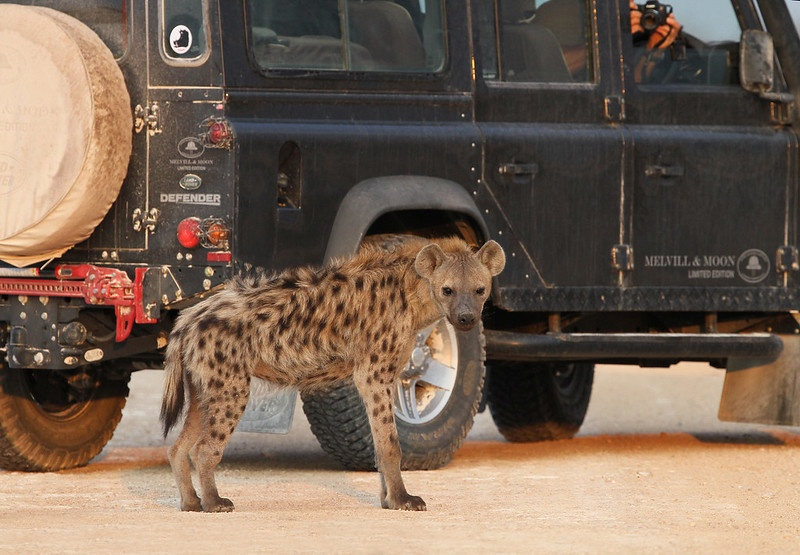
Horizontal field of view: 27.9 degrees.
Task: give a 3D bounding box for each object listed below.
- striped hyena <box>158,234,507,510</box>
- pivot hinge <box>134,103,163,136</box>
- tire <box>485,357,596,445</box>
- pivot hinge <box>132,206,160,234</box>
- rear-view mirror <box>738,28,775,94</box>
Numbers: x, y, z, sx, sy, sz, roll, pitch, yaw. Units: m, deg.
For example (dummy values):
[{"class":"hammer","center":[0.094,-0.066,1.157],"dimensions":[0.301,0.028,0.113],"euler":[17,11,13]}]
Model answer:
[{"class":"striped hyena","center":[-0.465,0.739,11.286],"dimensions":[2.423,1.869,0.671],"euler":[-1,-10,-11]},{"class":"pivot hinge","center":[-1.847,-1.108,11.659],"dimensions":[0.213,0.214,0.072],"euler":[0,2,12]},{"class":"tire","center":[1.235,1.054,14.675],"dimensions":[0.723,0.937,0.761],"euler":[-6,6,-41]},{"class":"pivot hinge","center":[-1.854,-0.399,11.680],"dimensions":[0.187,0.160,0.027],"euler":[2,-1,8]},{"class":"rear-view mirror","center":[2.855,-1.703,12.860],"dimensions":[0.245,0.499,0.218],"euler":[6,23,35]}]
